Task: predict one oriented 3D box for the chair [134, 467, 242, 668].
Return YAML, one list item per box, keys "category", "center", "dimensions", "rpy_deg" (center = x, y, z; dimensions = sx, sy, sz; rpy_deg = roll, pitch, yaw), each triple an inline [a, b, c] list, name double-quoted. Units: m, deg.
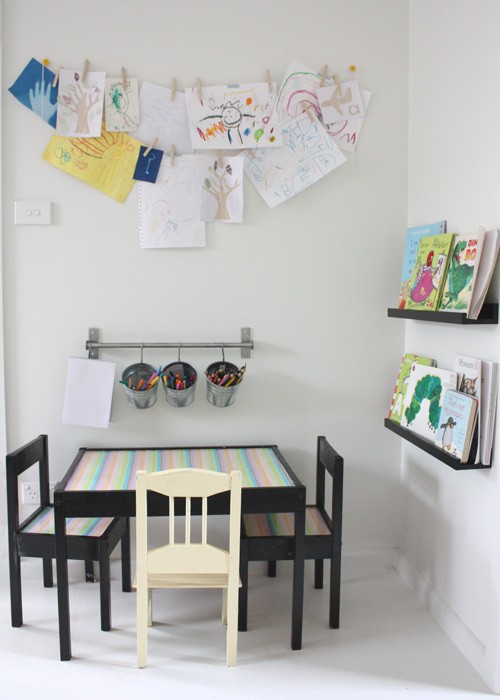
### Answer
- category: "chair"
  center: [-0.185, 0.627, 1.873]
  dimensions: [0.307, 0.640, 0.491]
  rpy_deg: [1, 4, -2]
